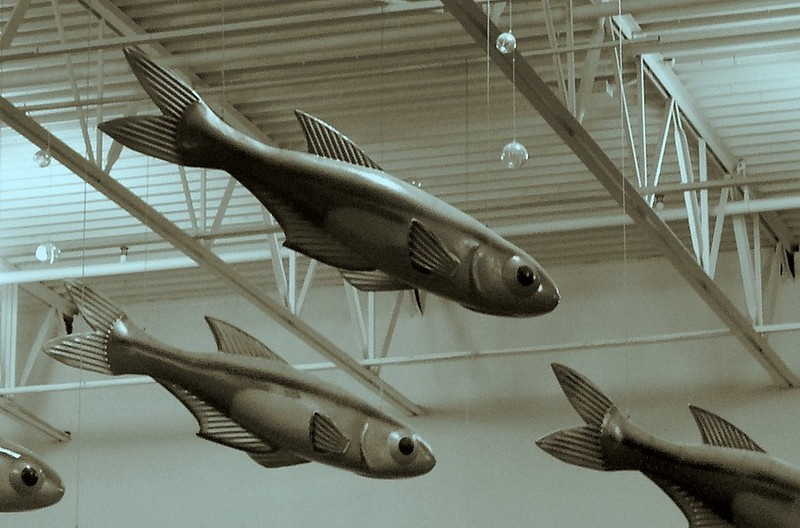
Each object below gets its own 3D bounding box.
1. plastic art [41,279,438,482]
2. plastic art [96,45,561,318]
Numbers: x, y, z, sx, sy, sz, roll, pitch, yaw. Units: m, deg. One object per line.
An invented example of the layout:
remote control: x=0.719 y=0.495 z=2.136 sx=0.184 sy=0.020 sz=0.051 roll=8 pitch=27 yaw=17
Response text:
plastic art: x=-2.667 y=2.125 z=40.811 sx=7.061 sy=2.509 sz=1.406 roll=24 pitch=-7 yaw=-2
plastic art: x=-1.022 y=-0.842 z=32.157 sx=7.389 sy=2.371 sz=1.479 roll=25 pitch=-35 yaw=-19
